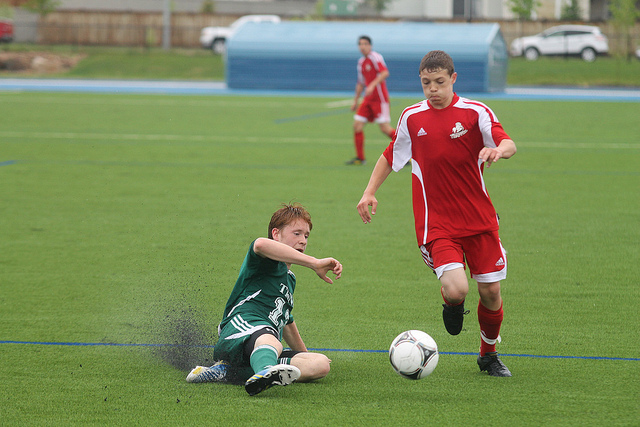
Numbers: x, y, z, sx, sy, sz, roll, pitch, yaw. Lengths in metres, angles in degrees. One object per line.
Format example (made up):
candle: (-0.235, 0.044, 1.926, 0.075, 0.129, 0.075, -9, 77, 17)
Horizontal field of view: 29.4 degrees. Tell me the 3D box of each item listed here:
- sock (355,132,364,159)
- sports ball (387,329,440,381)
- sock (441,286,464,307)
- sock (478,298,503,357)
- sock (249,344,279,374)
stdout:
sock: (0.632, -1.116, 19.763, 0.128, 0.442, 0.213, -1, 11, 0)
sports ball: (0.967, 1.410, 12.521, 0.509, 0.490, 0.499, 28, -6, 3)
sock: (1.382, 0.840, 12.772, 0.218, 0.252, 0.359, 0, 11, 5)
sock: (1.763, 1.191, 12.683, 0.244, 0.562, 0.131, 0, 11, 6)
sock: (-0.524, 1.412, 12.290, 0.233, 0.239, 0.252, -6, -13, 18)
